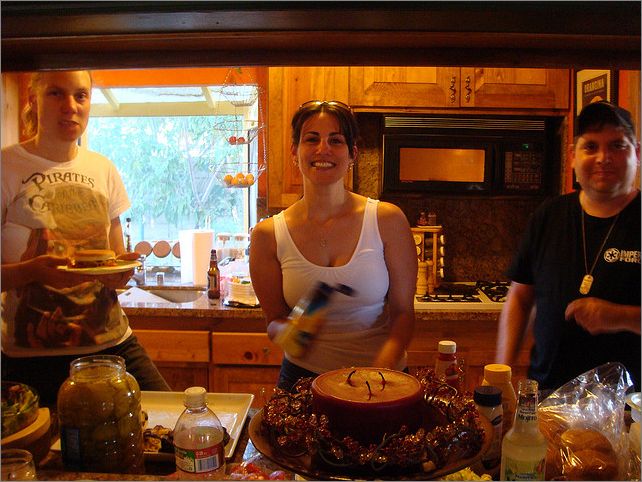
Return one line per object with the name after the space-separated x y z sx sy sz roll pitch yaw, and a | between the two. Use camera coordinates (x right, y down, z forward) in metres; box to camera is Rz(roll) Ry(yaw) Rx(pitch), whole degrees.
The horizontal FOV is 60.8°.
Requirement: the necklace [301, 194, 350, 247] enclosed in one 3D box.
0.017 -0.065 1.820 0.150 0.188 0.053 1 -8 7 | necklace

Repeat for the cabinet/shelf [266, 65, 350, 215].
-0.039 -0.748 3.359 0.477 0.895 0.501 -7 40 -6 | cabinet/shelf

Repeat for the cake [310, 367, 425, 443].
0.085 0.273 0.949 0.121 0.068 0.121 1 5 21 | cake

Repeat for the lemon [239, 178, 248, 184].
-0.468 -0.354 3.269 0.033 0.032 0.039 8 -19 5 | lemon

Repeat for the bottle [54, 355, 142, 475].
-0.434 0.351 1.071 0.130 0.214 0.086 2 6 6 | bottle

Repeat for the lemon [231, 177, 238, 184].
-0.516 -0.356 3.284 0.051 0.041 0.027 6 8 41 | lemon

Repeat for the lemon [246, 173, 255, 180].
-0.426 -0.378 3.302 0.041 0.039 0.048 0 -18 8 | lemon

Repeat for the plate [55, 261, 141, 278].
-0.601 0.079 1.548 0.146 0.034 0.231 5 7 33 | plate

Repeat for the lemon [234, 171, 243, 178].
-0.500 -0.396 3.330 0.050 0.036 0.143 0 6 -7 | lemon

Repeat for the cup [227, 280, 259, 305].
-0.407 0.259 2.869 0.153 0.100 0.166 0 1 0 | cup

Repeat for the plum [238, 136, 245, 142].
-0.464 -0.584 3.185 0.039 0.037 0.048 1 6 -2 | plum

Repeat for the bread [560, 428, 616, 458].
0.516 0.389 1.054 0.060 0.014 0.059 1 3 16 | bread

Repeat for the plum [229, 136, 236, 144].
-0.517 -0.576 3.184 0.043 0.041 0.031 -2 -23 5 | plum

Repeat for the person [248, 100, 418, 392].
0.050 0.017 1.807 0.551 0.931 0.303 4 7 28 | person

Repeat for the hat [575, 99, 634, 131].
0.932 -0.377 1.800 0.109 0.085 0.153 1 -20 41 | hat

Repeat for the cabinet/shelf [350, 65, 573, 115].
0.801 -0.916 3.140 1.206 0.386 0.372 3 14 11 | cabinet/shelf

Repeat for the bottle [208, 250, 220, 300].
-0.595 0.178 3.017 0.062 0.272 0.164 0 6 -10 | bottle

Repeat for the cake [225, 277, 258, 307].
-0.428 0.267 2.871 0.163 0.111 0.174 2 -2 -38 | cake

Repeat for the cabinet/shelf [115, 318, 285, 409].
-0.619 0.689 3.005 0.887 0.558 0.459 4 9 -10 | cabinet/shelf

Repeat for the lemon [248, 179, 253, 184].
-0.427 -0.355 3.282 0.032 0.031 0.018 -5 1 16 | lemon
